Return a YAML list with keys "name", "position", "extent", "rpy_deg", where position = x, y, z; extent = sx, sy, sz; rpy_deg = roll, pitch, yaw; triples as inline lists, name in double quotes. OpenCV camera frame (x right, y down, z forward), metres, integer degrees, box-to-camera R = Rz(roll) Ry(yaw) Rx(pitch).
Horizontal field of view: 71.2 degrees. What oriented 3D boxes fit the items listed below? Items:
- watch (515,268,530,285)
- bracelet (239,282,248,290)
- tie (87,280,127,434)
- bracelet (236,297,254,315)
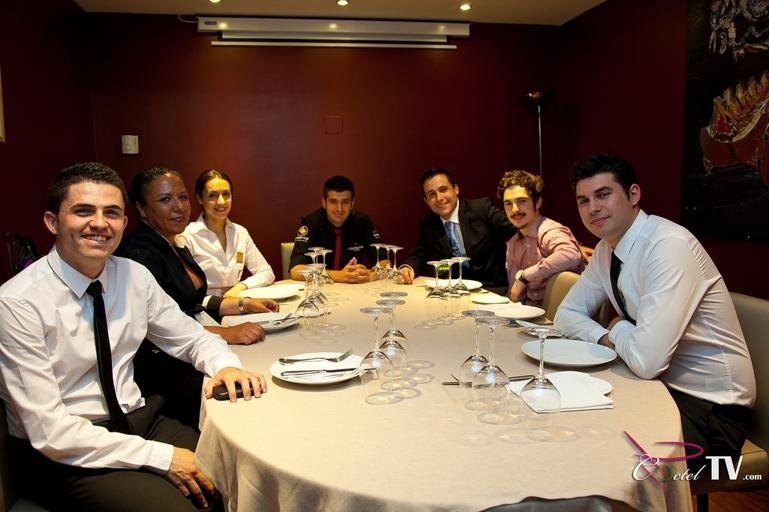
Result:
- name: "watch"
  position: [0.985, 0.141, 3.815]
  extent: [0.069, 0.099, 0.072]
  rpy_deg: [-14, 30, 9]
- name: "bracelet"
  position: [-1.019, 0.211, 3.867]
  extent: [0.049, 0.038, 0.050]
  rpy_deg: [1, 19, 9]
- name: "tie"
  position: [-1.193, 0.450, 2.344]
  extent: [0.112, 0.838, 0.115]
  rpy_deg: [-5, 1, 9]
- name: "bracelet"
  position: [-0.819, 0.292, 3.137]
  extent: [0.063, 0.109, 0.107]
  rpy_deg: [6, 22, -12]
